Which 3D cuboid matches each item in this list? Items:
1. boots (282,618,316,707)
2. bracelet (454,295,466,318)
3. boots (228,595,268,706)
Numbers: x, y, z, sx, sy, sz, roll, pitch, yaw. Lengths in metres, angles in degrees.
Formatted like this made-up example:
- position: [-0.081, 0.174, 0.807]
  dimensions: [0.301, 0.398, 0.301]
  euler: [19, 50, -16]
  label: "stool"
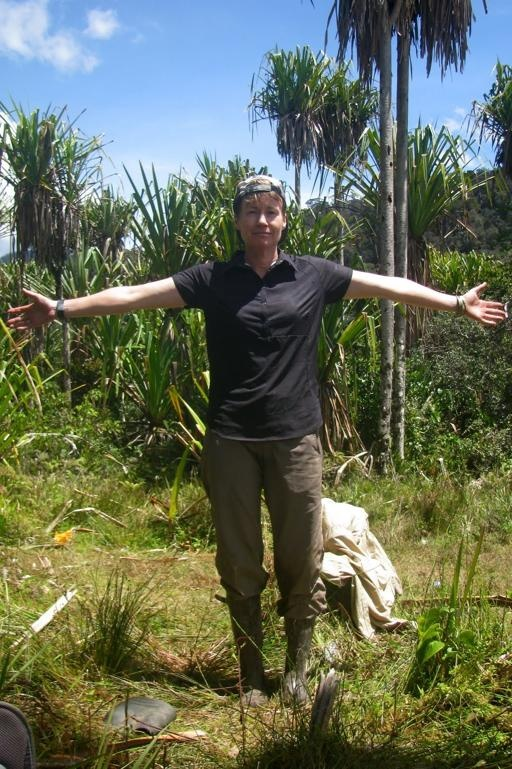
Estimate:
- position: [0.131, 1.082, 2.285]
  dimensions: [0.072, 0.184, 0.226]
  euler: [14, 38, -20]
  label: "boots"
- position: [0.842, -0.325, 2.531]
  dimensions: [0.025, 0.066, 0.058]
  euler: [2, 11, 1]
  label: "bracelet"
- position: [-0.031, 0.968, 2.247]
  dimensions: [0.151, 0.374, 0.444]
  euler: [0, 7, -2]
  label: "boots"
